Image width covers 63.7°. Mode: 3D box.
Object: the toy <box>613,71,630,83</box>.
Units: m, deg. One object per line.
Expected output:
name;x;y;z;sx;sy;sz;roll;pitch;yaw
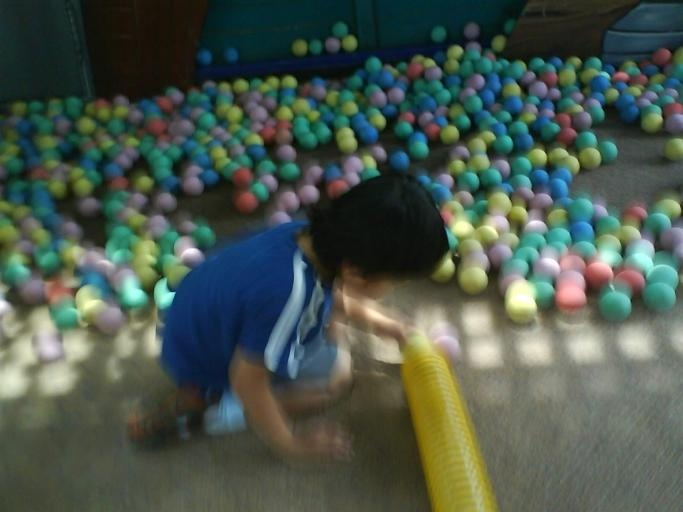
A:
toy;1.437;-0.920;2.832;0.063;0.078;0.074;3;73;7

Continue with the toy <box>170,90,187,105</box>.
toy;-0.867;-0.841;2.910;0.076;0.059;0.076;-8;44;-16

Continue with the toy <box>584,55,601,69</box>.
toy;1.312;-1.016;2.889;0.070;0.063;0.067;20;72;-18

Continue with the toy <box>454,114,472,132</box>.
toy;0.599;-0.646;2.707;0.074;0.095;0.079;3;35;28

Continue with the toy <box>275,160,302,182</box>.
toy;-0.248;-0.389;2.509;0.088;0.052;0.090;-23;48;-25

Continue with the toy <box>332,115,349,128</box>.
toy;-0.003;-0.653;2.705;0.077;0.042;0.083;9;42;2

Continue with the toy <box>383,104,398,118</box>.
toy;0.246;-0.724;2.798;0.061;0.067;0.071;-2;-6;-41

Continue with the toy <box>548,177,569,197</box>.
toy;0.904;-0.279;2.296;0.073;0.095;0.080;-6;52;12

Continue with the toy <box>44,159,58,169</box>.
toy;-1.340;-0.423;2.539;0.044;0.032;0.057;-2;50;-10

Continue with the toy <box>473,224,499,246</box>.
toy;0.575;-0.082;2.183;0.087;0.078;0.078;28;64;35

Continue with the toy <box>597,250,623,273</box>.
toy;0.980;0.006;2.014;0.069;0.042;0.072;20;26;-2

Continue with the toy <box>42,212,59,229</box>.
toy;-1.202;-0.149;2.285;0.066;0.066;0.062;-12;26;-18

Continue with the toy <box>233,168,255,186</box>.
toy;-0.442;-0.348;2.497;0.077;0.093;0.076;40;42;25

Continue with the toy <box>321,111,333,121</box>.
toy;-0.072;-0.699;2.755;0.051;0.028;0.054;-20;45;-20

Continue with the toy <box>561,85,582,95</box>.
toy;1.156;-0.840;2.782;0.064;0.060;0.056;-3;6;-17

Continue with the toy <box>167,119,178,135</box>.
toy;-0.831;-0.636;2.716;0.048;0.064;0.027;7;5;43

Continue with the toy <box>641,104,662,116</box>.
toy;1.461;-0.693;2.604;0.066;0.056;0.053;10;11;28

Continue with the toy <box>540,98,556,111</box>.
toy;1.017;-0.749;2.723;0.056;0.072;0.061;9;64;21

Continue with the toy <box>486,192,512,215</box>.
toy;0.637;-0.212;2.233;0.083;0.104;0.090;-6;54;17

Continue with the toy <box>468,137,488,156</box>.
toy;0.626;-0.503;2.536;0.077;0.100;0.082;1;21;14

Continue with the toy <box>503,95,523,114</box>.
toy;0.836;-0.737;2.683;0.079;0.102;0.088;-3;60;11

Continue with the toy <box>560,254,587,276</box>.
toy;0.836;0.029;2.005;0.070;0.086;0.076;19;73;27

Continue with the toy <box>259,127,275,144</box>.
toy;-0.355;-0.589;2.677;0.064;0.083;0.071;6;66;9

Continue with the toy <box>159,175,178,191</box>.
toy;-0.765;-0.324;2.457;0.072;0.068;0.064;-23;1;20

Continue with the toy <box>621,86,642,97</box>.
toy;1.443;-0.819;2.740;0.071;0.059;0.045;2;79;7

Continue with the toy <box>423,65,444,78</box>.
toy;0.478;-0.950;2.870;0.075;0.063;0.064;1;78;16

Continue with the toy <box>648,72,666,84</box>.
toy;1.601;-0.900;2.794;0.071;0.059;0.059;8;73;34

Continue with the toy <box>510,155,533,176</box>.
toy;0.784;-0.394;2.422;0.080;0.103;0.087;-1;42;14

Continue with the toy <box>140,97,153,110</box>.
toy;-1.010;-0.781;2.848;0.065;0.070;0.069;-14;7;-16

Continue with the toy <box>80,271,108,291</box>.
toy;-0.909;0.090;2.046;0.068;0.050;0.085;24;0;28

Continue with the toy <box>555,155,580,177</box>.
toy;0.999;-0.402;2.464;0.082;0.100;0.083;-35;51;-15

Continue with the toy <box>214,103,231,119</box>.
toy;-0.610;-0.746;2.820;0.075;0.071;0.066;3;19;26

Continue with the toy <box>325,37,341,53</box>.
toy;-0.049;-1.153;3.019;0.073;0.083;0.089;11;1;9

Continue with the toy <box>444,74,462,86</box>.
toy;0.580;-0.912;2.877;0.089;0.041;0.108;12;43;4

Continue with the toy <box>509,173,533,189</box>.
toy;0.758;-0.314;2.336;0.065;0.081;0.071;6;66;-24

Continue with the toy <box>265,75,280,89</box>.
toy;-0.372;-0.947;3.051;0.066;0.083;0.070;1;58;8

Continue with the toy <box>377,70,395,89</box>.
toy;0.241;-0.914;2.893;0.089;0.114;0.083;9;16;40

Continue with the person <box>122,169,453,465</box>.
person;-0.087;0.184;1.579;0.728;0.986;0.511;15;30;-18

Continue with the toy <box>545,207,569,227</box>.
toy;0.863;-0.154;2.205;0.068;0.075;0.080;23;27;31

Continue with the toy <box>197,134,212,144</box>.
toy;-0.670;-0.570;2.668;0.060;0.021;0.060;35;44;31

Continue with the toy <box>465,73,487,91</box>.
toy;0.680;-0.882;2.793;0.091;0.080;0.088;10;77;-17

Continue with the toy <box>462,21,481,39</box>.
toy;0.712;-1.229;3.018;0.078;0.096;0.087;8;72;16

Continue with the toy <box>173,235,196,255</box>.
toy;-0.613;-0.047;2.143;0.067;0.087;0.068;-1;15;11

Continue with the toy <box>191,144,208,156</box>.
toy;-0.671;-0.498;2.590;0.051;0.032;0.055;-12;30;-2

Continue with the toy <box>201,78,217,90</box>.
toy;-0.718;-0.929;2.988;0.074;0.043;0.073;32;46;21

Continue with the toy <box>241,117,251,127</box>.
toy;-0.486;-0.678;2.792;0.050;0.044;0.043;-33;15;2

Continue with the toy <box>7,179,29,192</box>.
toy;-1.437;-0.315;2.446;0.065;0.024;0.070;-5;39;-16

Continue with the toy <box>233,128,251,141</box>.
toy;-0.487;-0.598;2.687;0.067;0.038;0.072;-27;47;-26

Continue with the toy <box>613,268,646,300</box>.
toy;1.023;0.085;1.936;0.089;0.104;0.093;-18;39;45

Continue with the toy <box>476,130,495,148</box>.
toy;0.677;-0.547;2.607;0.066;0.074;0.083;-9;24;2

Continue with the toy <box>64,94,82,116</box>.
toy;-1.397;-0.783;2.856;0.076;0.061;0.134;0;33;-20

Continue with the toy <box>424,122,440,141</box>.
toy;0.443;-0.595;2.657;0.067;0.088;0.074;-1;50;13

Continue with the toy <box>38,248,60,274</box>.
toy;-1.138;0.022;2.145;0.094;0.058;0.070;33;48;26

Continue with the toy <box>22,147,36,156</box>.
toy;-1.474;-0.495;2.616;0.048;0.046;0.044;2;27;14
